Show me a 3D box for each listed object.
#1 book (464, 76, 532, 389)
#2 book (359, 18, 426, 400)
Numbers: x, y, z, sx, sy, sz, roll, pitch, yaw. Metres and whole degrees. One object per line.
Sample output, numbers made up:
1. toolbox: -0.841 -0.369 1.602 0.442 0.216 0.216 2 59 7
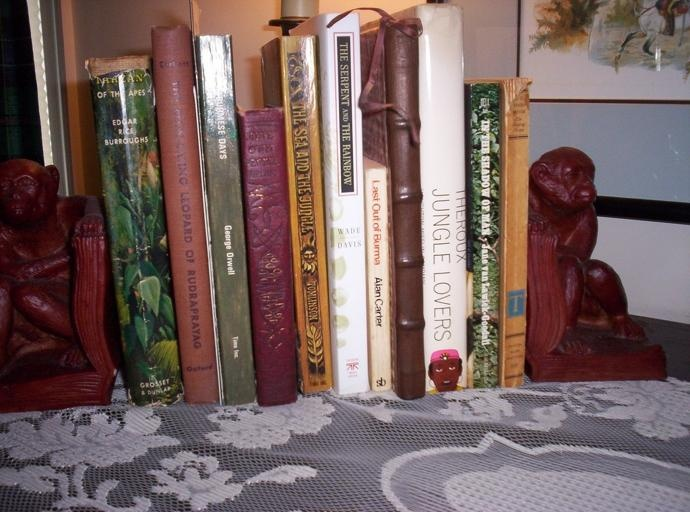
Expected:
1. book: 0.260 -0.033 1.027 0.103 0.523 0.077 0 12 15
2. book: 0.082 -0.071 0.996 0.099 0.623 0.086 -2 12 7
